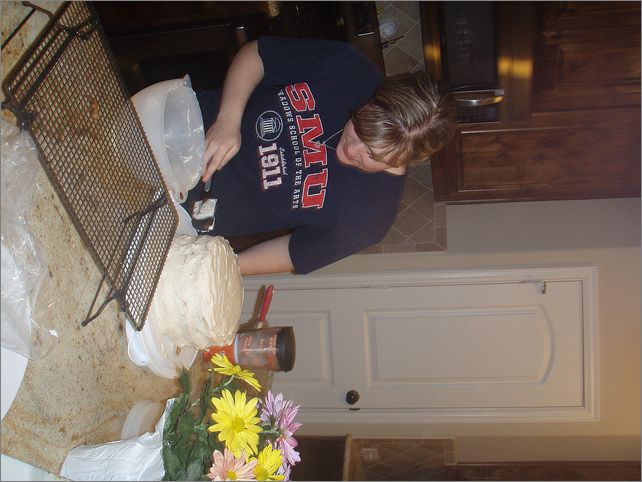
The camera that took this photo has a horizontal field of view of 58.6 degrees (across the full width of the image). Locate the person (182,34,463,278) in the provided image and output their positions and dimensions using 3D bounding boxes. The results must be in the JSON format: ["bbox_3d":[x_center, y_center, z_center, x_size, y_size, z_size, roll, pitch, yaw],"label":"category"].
[{"bbox_3d":[-0.008,-0.303,1.753,0.795,0.548,0.459,-22,47,-3],"label":"person"}]
